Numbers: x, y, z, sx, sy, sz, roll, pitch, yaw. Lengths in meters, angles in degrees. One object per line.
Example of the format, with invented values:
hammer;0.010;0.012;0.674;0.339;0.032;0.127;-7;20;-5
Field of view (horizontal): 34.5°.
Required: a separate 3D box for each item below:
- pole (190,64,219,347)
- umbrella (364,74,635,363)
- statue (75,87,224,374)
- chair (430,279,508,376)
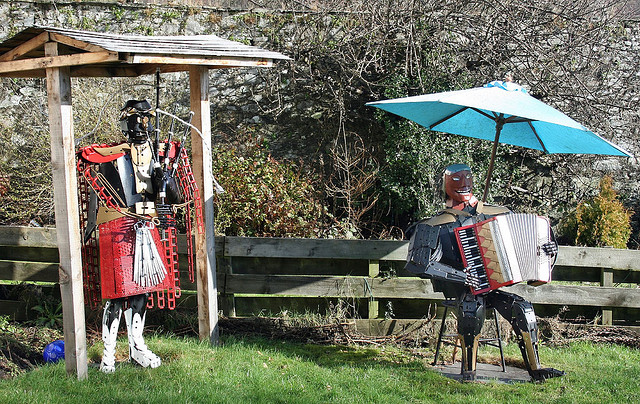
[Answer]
pole;-1.739;-0.032;15.973;0.729;3.611;0.634;2;-2;-4
umbrella;2.819;0.267;16.869;3.606;3.321;3.408;20;-4;36
statue;-2.759;0.406;15.184;1.787;4.167;0.840;3;-4;-7
chair;2.307;1.835;15.910;1.325;1.704;1.241;-3;-5;-6
